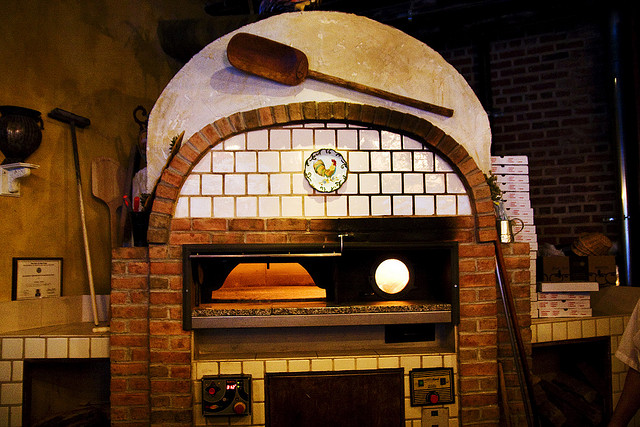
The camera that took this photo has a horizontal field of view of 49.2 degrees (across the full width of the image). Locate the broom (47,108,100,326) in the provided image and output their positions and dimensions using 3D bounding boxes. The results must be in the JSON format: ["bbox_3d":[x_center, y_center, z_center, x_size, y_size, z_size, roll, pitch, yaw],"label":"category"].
[{"bbox_3d":[-2.131,0.035,6.091,0.097,1.798,0.510,-8,-2,38],"label":"broom"}]

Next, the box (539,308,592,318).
[{"bbox_3d":[2.072,0.840,5.899,0.454,0.076,0.031,-1,-12,-6],"label":"box"}]

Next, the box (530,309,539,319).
[{"bbox_3d":[1.809,0.843,5.882,0.089,0.087,0.063,0,-6,2],"label":"box"}]

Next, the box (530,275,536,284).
[{"bbox_3d":[1.784,0.551,5.871,0.041,0.073,0.206,-7,-14,21],"label":"box"}]

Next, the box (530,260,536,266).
[{"bbox_3d":[1.807,0.422,5.930,0.064,0.062,0.036,-1,-3,2],"label":"box"}]

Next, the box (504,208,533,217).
[{"bbox_3d":[1.695,-0.004,5.993,0.272,0.080,0.068,4,-14,-24],"label":"box"}]

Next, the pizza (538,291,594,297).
[{"bbox_3d":[2.057,0.685,5.906,0.430,0.056,0.024,-1,-12,-5],"label":"pizza"}]

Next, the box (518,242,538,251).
[{"bbox_3d":[1.822,0.280,6.019,0.132,0.085,0.068,0,-5,0],"label":"box"}]
